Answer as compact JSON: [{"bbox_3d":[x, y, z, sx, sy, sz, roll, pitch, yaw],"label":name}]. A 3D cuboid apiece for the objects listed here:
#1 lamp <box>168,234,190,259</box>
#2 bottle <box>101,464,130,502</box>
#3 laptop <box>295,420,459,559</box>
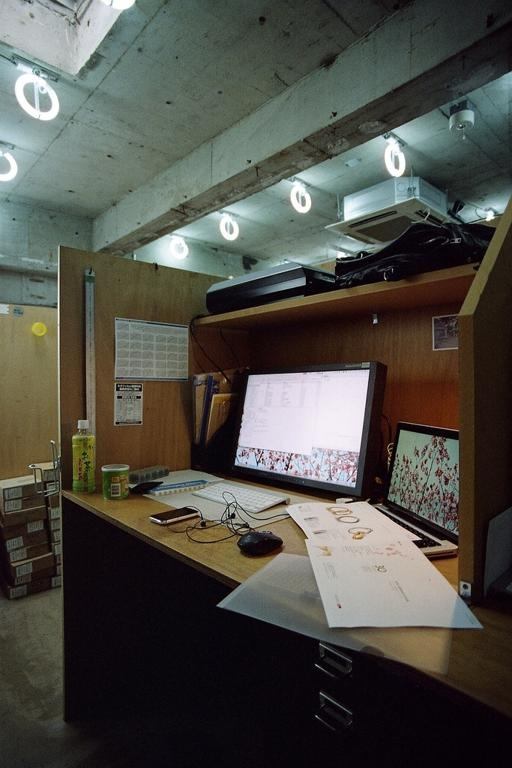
[{"bbox_3d":[-0.798,-1.414,5.576,0.052,0.210,0.206,1,18,31],"label":"lamp"},{"bbox_3d":[-0.376,0.265,1.445,0.078,0.086,0.079,2,-4,-18],"label":"bottle"},{"bbox_3d":[0.316,0.219,1.198,0.190,0.177,0.234,-11,3,-14],"label":"laptop"}]
